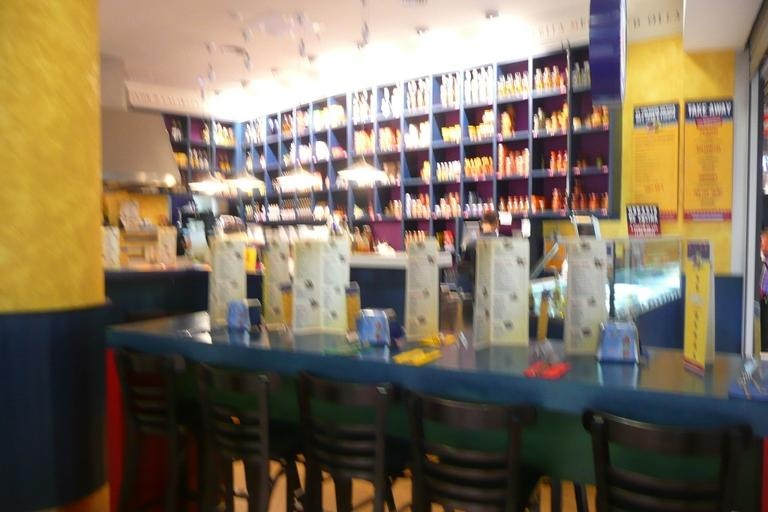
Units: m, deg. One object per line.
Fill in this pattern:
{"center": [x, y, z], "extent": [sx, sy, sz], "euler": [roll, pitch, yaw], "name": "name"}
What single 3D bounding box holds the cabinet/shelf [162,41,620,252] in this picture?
{"center": [0.371, -1.532, 8.227], "extent": [4.432, 1.708, 0.553], "euler": [-3, 22, 21], "name": "cabinet/shelf"}
